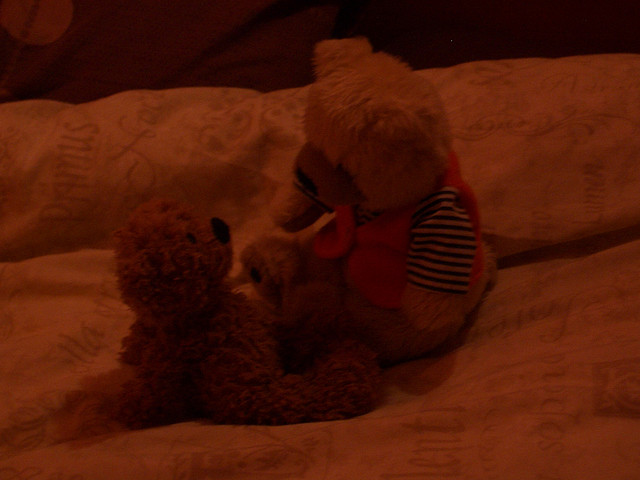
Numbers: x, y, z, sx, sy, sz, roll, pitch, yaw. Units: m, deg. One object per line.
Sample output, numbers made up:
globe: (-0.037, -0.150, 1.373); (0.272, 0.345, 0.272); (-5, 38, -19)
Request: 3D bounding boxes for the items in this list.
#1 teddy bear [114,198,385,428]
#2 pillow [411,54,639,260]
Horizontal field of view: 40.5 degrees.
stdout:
teddy bear: (-0.113, 0.169, 1.574); (0.380, 0.537, 0.374); (5, 77, -30)
pillow: (0.399, -0.160, 1.555); (0.520, 0.108, 0.352); (-6, 79, 18)
